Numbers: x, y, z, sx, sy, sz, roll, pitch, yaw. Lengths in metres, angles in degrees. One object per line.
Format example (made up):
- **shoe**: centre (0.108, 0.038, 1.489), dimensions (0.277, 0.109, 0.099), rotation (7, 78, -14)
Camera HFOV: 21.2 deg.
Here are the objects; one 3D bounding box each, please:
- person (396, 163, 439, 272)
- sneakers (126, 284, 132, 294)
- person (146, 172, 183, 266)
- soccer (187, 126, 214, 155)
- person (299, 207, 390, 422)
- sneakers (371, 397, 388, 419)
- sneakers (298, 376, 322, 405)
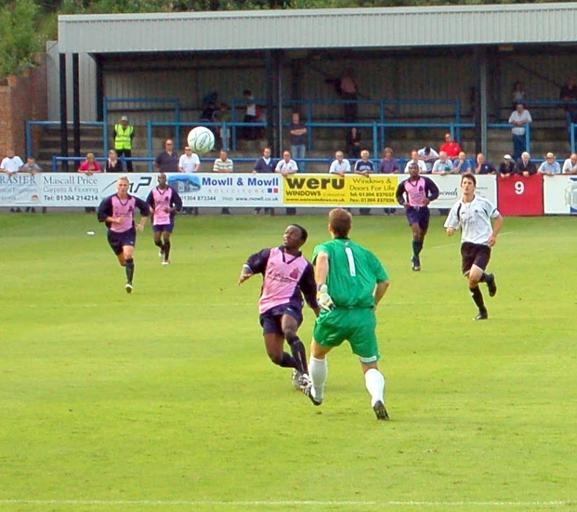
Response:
- **person**: centre (2.682, -0.779, 32.177), dimensions (0.834, 2.259, 0.778), rotation (0, 11, 5)
- **sneakers**: centre (-3.045, 0.636, 29.606), dimensions (0.073, 0.090, 0.206), rotation (0, -22, -5)
- **person**: centre (-2.632, -0.717, 32.868), dimensions (0.712, 2.046, 1.212), rotation (-2, 11, -5)
- **soccer**: centre (-2.394, -3.056, 42.126), dimensions (0.657, 0.834, 0.705), rotation (-7, 16, 9)
- **person**: centre (0.813, 0.827, 21.210), dimensions (1.111, 2.809, 0.876), rotation (-1, 11, 2)
- **sneakers**: centre (1.239, 2.115, 21.076), dimensions (0.160, 0.297, 0.084), rotation (-46, 28, -25)
- **sneakers**: centre (0.276, 1.871, 21.873), dimensions (0.222, 0.184, 0.538), rotation (6, 33, -27)
